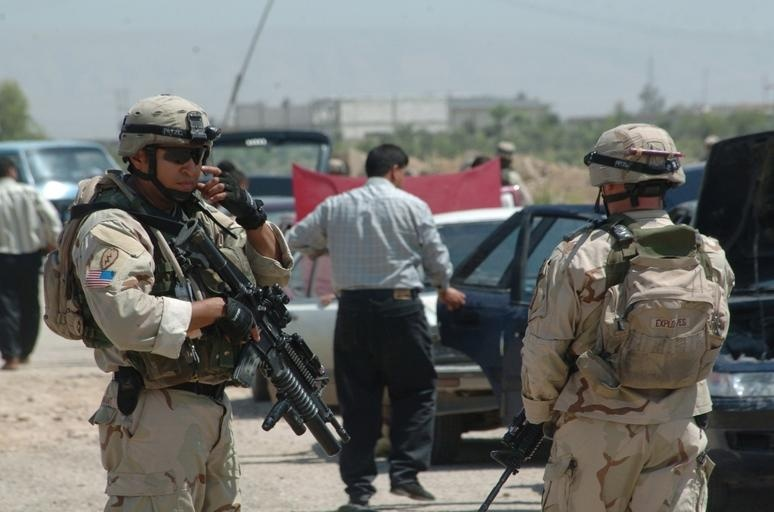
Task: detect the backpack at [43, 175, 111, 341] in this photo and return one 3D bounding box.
[{"bbox_3d":[-2.231,0.019,12.790,0.376,1.123,0.425,1,7,13],"label":"backpack"}]

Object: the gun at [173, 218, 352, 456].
[{"bbox_3d":[-0.943,0.592,13.438,0.333,2.074,0.951,-25,17,44],"label":"gun"}]

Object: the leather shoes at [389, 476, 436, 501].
[{"bbox_3d":[0.163,1.835,14.312,0.420,0.167,0.140,7,-8,-1],"label":"leather shoes"}]

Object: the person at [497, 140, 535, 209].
[{"bbox_3d":[1.321,-0.901,19.279,0.463,0.915,0.378,-5,23,-16],"label":"person"}]
